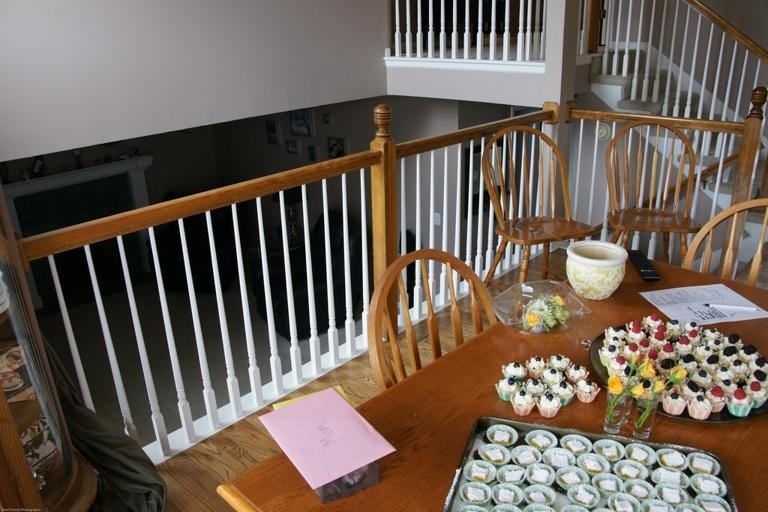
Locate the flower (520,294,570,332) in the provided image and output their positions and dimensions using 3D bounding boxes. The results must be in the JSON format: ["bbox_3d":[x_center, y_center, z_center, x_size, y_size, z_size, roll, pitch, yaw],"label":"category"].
[{"bbox_3d":[0.571,0.205,1.784,0.127,0.069,0.142,-1,39,0],"label":"flower"}]

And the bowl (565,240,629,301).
[{"bbox_3d":[0.816,0.060,1.974,0.214,0.173,0.217,-5,23,2],"label":"bowl"}]

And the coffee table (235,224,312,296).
[{"bbox_3d":[-1.173,0.070,5.455,0.701,0.875,0.589,16,31,24],"label":"coffee table"}]

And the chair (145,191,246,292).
[{"bbox_3d":[-2.617,-0.038,7.165,1.042,1.049,0.822,-10,27,-16],"label":"chair"}]

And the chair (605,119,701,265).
[{"bbox_3d":[1.893,-0.335,3.611,0.642,1.120,0.574,7,-1,16],"label":"chair"}]

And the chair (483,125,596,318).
[{"bbox_3d":[1.021,-0.234,3.321,0.798,1.171,0.756,-17,23,-41],"label":"chair"}]

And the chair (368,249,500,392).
[{"bbox_3d":[0.217,0.289,2.264,0.419,0.590,0.429,-32,46,-24],"label":"chair"}]

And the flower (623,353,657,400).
[{"bbox_3d":[0.704,0.326,1.420,0.109,0.099,0.110,1,9,29],"label":"flower"}]
